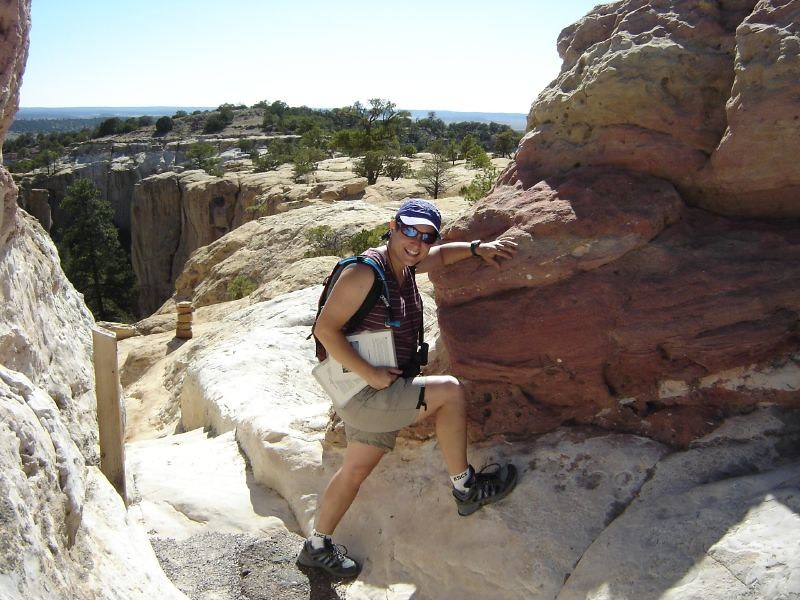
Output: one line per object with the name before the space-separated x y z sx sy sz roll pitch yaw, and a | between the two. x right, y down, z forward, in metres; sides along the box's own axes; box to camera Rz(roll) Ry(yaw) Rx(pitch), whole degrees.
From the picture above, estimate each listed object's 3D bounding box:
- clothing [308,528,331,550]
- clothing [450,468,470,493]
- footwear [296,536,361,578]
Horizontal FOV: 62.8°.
clothing | -0.422 1.199 3.370 0.129 0.118 0.074 -4 35 -21
clothing | 0.308 0.899 3.262 0.112 0.103 0.087 -9 5 -14
footwear | -0.364 1.302 3.419 0.356 0.162 0.167 13 4 5
